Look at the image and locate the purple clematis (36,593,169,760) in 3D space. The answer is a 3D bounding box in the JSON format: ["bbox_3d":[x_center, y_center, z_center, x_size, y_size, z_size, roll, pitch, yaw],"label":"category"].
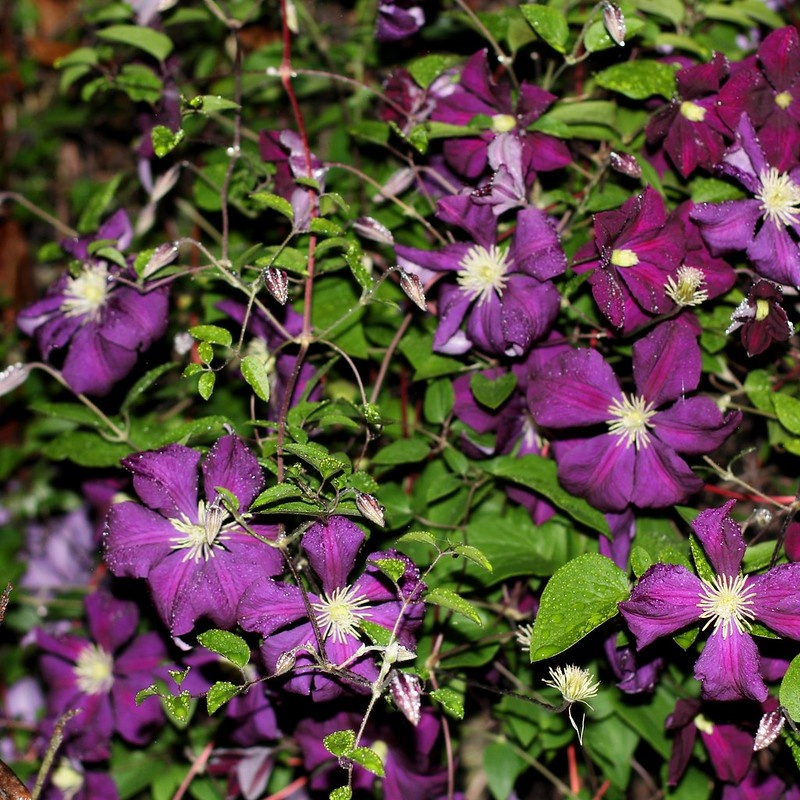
[{"bbox_3d":[-0.513,0.494,1.651,0.290,0.076,0.297,-19,69,31],"label":"purple clematis"}]

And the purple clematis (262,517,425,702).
[{"bbox_3d":[-0.089,0.263,1.187,0.230,0.076,0.227,-25,104,-1],"label":"purple clematis"}]

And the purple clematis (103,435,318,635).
[{"bbox_3d":[-0.260,0.186,1.210,0.261,0.081,0.258,-16,76,21],"label":"purple clematis"}]

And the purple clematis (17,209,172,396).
[{"bbox_3d":[-0.433,-0.161,1.374,0.258,0.091,0.272,-28,58,29],"label":"purple clematis"}]
